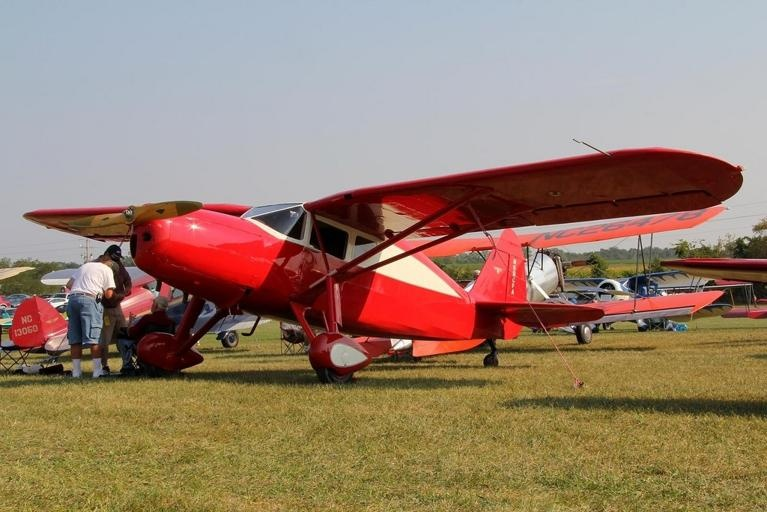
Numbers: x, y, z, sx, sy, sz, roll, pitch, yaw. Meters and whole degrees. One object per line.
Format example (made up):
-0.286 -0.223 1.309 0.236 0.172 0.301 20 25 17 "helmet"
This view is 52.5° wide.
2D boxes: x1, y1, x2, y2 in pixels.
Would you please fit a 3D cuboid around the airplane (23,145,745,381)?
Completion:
0.022 0.342 10.869 7.147 3.851 5.677 -3 13 -16 "airplane"
